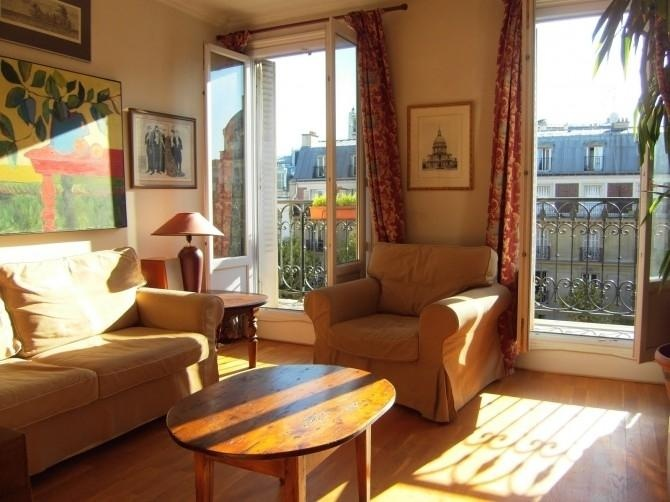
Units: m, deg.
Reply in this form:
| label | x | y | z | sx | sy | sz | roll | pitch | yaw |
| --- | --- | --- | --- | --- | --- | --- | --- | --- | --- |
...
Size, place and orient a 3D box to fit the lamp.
| label | x | y | z | sx | sy | sz | roll | pitch | yaw |
| --- | --- | --- | --- | --- | --- | --- | --- | --- | --- |
| lamp | -1.181 | 0.027 | 4.442 | 0.477 | 0.736 | 0.585 | 1 | 11 | 7 |

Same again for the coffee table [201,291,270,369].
| label | x | y | z | sx | sy | sz | roll | pitch | yaw |
| --- | --- | --- | --- | --- | --- | --- | --- | --- | --- |
| coffee table | -0.751 | 0.635 | 4.262 | 0.514 | 0.458 | 0.582 | 2 | 7 | 19 |

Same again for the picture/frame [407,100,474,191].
| label | x | y | z | sx | sy | sz | roll | pitch | yaw |
| --- | --- | --- | --- | --- | --- | --- | --- | --- | --- |
| picture/frame | 0.932 | -0.936 | 4.523 | 0.685 | 1.001 | 0.046 | 4 | 11 | 26 |

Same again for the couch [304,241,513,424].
| label | x | y | z | sx | sy | sz | roll | pitch | yaw |
| --- | --- | --- | --- | --- | --- | --- | --- | --- | --- |
| couch | 0.559 | 0.527 | 4.045 | 1.264 | 1.151 | 1.061 | 2 | 3 | 42 |

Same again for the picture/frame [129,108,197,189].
| label | x | y | z | sx | sy | sz | roll | pitch | yaw |
| --- | --- | --- | --- | --- | --- | --- | --- | --- | --- |
| picture/frame | -1.531 | -0.893 | 4.546 | 0.064 | 0.632 | 0.678 | 6 | 12 | 33 |
